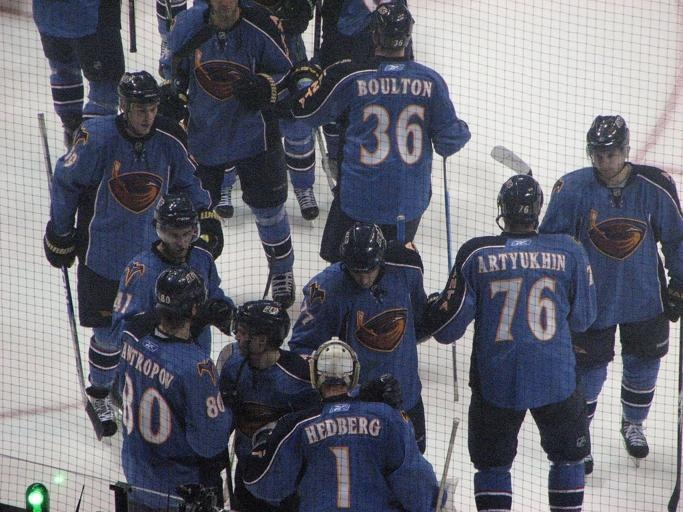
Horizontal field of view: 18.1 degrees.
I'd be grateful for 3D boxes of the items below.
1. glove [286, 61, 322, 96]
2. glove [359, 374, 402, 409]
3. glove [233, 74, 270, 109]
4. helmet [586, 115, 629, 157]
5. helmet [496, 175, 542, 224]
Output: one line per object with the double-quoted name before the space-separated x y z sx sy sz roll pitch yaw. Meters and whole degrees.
"glove" -0.342 -1.444 17.495 0.252 0.254 0.267 5 9 14
"glove" 0.285 1.023 15.856 0.262 0.254 0.118 -13 -3 -5
"glove" -0.734 -1.320 17.404 0.321 0.279 0.086 1 9 -8
"helmet" 2.141 -0.964 17.215 0.259 0.317 0.340 4 34 18
"helmet" 1.376 -0.424 16.646 0.340 0.368 0.212 3 9 3
